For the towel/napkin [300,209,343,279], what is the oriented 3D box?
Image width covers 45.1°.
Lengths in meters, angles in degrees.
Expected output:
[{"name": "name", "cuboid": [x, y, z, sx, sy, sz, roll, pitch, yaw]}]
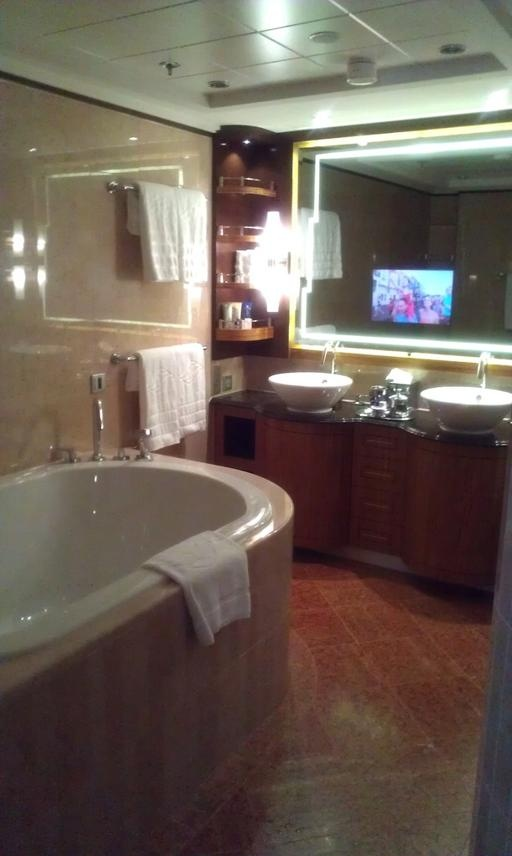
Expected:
[{"name": "towel/napkin", "cuboid": [0.329, -0.916, 3.042, 0.259, 0.392, 0.039, 14, 24, 36]}]

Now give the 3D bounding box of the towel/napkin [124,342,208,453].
[{"name": "towel/napkin", "cuboid": [-0.381, -0.138, 2.526, 0.067, 0.326, 0.412, 6, 17, 21]}]

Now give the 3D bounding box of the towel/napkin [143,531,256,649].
[{"name": "towel/napkin", "cuboid": [-0.120, 0.346, 1.372, 0.214, 0.089, 0.198, 11, 18, 20]}]

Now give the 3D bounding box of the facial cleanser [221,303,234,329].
[{"name": "facial cleanser", "cuboid": [-0.144, -0.557, 3.068, 0.060, 0.107, 0.032, -6, 2, -2]}]

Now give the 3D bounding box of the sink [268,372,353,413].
[{"name": "sink", "cuboid": [0.257, -0.172, 2.857, 0.364, 0.142, 0.442, -6, 2, 8]}]

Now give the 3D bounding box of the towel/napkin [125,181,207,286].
[{"name": "towel/napkin", "cuboid": [-0.354, -0.738, 2.335, 0.088, 0.282, 0.449, 5, 16, 18]}]

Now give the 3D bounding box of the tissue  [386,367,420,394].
[{"name": "tissue ", "cuboid": [0.630, -0.195, 2.753, 0.120, 0.130, 0.033, 5, -2, -2]}]
